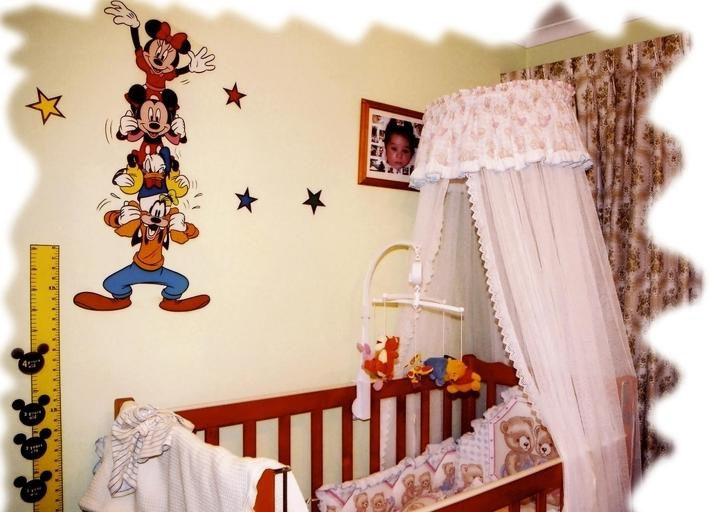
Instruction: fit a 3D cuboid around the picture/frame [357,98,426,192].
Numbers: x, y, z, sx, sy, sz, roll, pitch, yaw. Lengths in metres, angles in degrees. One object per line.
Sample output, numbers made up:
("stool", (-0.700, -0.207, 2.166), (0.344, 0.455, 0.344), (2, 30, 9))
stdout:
("picture/frame", (0.197, -0.617, 3.788), (0.540, 0.479, 0.041), (-2, 7, -36))
